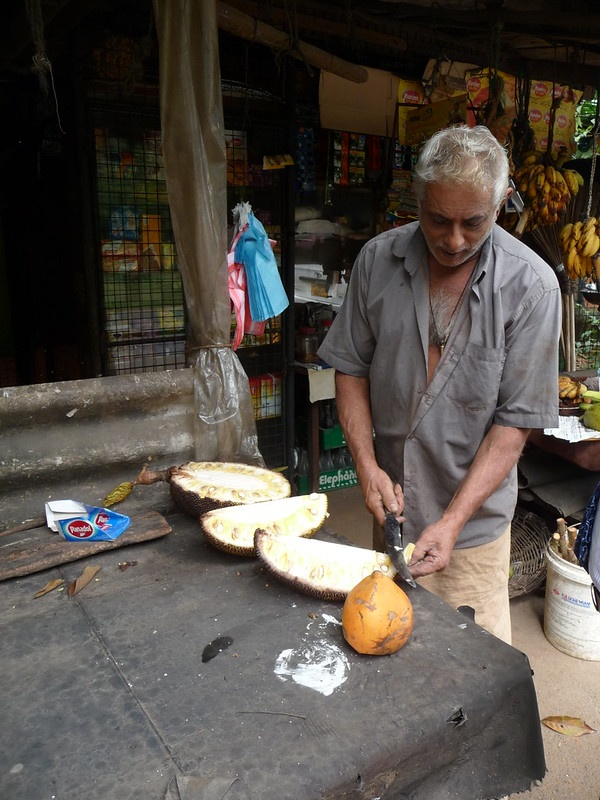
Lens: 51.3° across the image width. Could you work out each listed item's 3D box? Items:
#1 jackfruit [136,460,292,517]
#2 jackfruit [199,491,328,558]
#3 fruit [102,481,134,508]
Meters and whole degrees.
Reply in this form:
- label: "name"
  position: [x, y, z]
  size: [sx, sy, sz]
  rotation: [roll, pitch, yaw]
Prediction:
- label: "jackfruit"
  position: [-0.275, 0.268, 2.081]
  size: [0.394, 0.187, 0.503]
  rotation: [-5, 13, -28]
- label: "jackfruit"
  position: [-0.105, 0.378, 1.866]
  size: [0.402, 0.139, 0.207]
  rotation: [-8, 5, -10]
- label: "fruit"
  position: [-0.624, 0.335, 2.150]
  size: [0.056, 0.033, 0.095]
  rotation: [28, 57, 30]
